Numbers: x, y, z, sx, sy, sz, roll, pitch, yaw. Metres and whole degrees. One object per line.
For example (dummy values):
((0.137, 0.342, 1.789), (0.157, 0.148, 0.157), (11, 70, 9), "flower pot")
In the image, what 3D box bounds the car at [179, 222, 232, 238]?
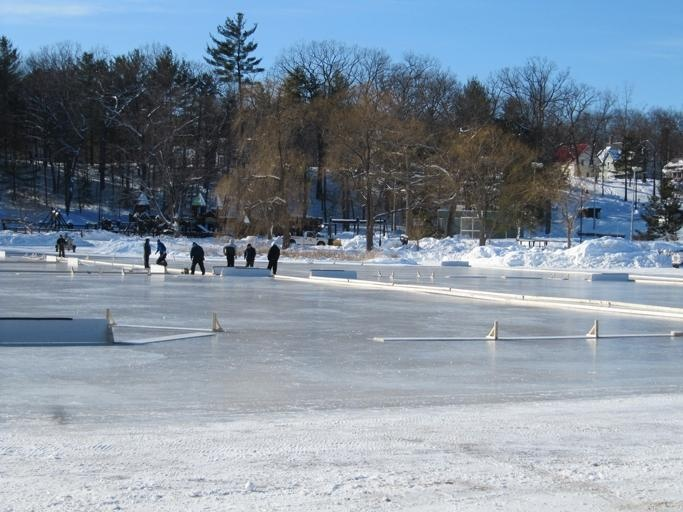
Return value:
((-12.783, -2.203, 135.176), (3.487, 1.095, 2.624), (0, 1, -5), "car")

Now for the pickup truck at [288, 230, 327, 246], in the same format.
((-2.875, -1.485, 133.712), (2.619, 1.067, 1.470), (-3, 3, -2), "pickup truck")
